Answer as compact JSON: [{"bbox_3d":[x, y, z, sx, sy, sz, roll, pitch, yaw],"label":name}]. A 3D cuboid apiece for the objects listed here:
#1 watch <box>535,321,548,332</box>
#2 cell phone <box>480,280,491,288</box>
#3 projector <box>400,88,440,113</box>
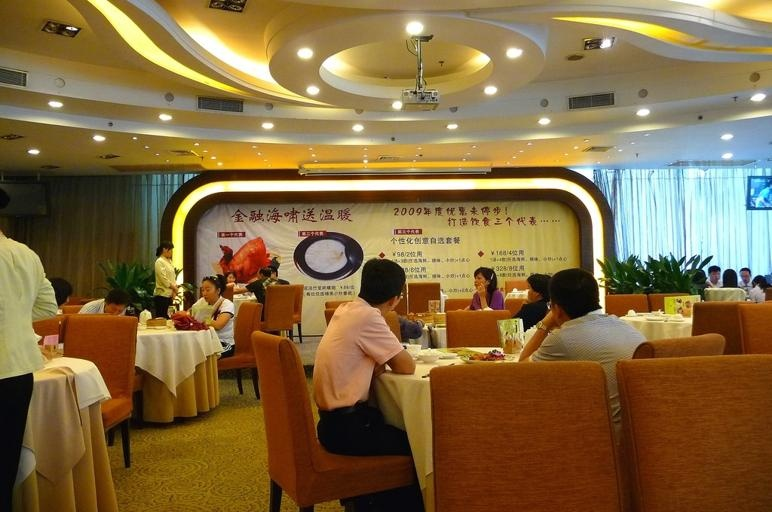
[{"bbox_3d":[0.919,0.420,3.247,0.050,0.026,0.049,11,-16,20],"label":"watch"},{"bbox_3d":[1.028,0.287,5.712,0.060,0.070,0.077,4,44,22],"label":"cell phone"},{"bbox_3d":[0.335,-1.631,5.587,0.354,0.223,0.359,1,2,-1],"label":"projector"}]
